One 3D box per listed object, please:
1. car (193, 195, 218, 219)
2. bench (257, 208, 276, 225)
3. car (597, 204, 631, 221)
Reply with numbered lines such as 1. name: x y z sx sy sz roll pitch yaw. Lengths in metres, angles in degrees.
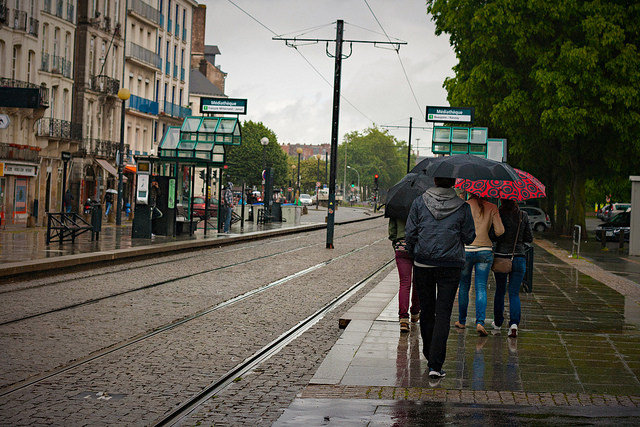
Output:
1. car: -6.971 -0.369 39.534 1.307 1.189 2.370 1 7 20
2. bench: -3.540 0.091 41.457 0.866 0.927 2.014 1 3 14
3. car: 27.486 -0.148 60.828 3.345 1.185 1.499 -9 9 -37
